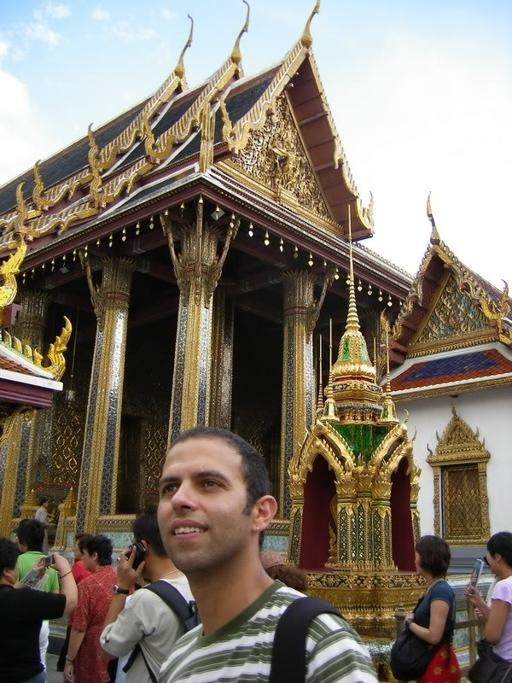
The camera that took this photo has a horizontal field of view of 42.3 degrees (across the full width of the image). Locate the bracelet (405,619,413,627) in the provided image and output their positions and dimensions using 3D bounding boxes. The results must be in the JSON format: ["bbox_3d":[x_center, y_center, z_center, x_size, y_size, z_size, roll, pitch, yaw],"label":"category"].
[{"bbox_3d":[0.605,1.121,2.632,0.025,0.026,0.028,4,-11,-30],"label":"bracelet"}]

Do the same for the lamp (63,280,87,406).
[{"bbox_3d":[-3.476,0.347,12.744,0.278,1.830,0.638,8,-17,-14],"label":"lamp"}]

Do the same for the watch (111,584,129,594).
[{"bbox_3d":[-0.470,0.873,2.325,0.050,0.035,0.054,22,-31,-29],"label":"watch"}]

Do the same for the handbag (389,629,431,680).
[{"bbox_3d":[0.604,1.224,2.574,0.166,0.185,0.074,-2,-18,20],"label":"handbag"}]
